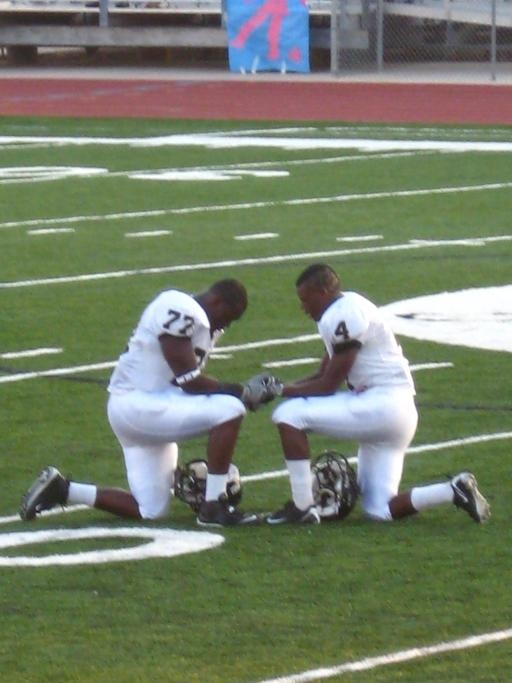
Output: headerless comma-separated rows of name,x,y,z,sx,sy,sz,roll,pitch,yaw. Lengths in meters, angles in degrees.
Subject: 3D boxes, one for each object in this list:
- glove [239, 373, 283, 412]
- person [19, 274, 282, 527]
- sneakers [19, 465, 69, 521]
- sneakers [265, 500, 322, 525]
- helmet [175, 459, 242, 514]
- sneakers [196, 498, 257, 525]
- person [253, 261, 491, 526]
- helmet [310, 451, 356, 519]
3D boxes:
glove,0.020,0.272,9.178,0.214,0.101,0.153,-29,65,-19
person,-0.571,0.316,9.299,1.163,1.373,0.648,-1,1,11
sneakers,-1.075,0.790,9.008,0.184,0.319,0.122,41,1,-45
sneakers,0.192,0.900,9.216,0.290,0.162,0.114,2,-3,5
helmet,-0.257,0.790,9.308,0.302,0.314,0.252,5,39,9
sneakers,-0.155,0.902,9.209,0.325,0.180,0.127,-1,3,7
person,0.571,0.272,9.114,1.033,1.344,0.363,0,10,7
helmet,0.423,0.744,9.303,0.221,0.358,0.312,-4,6,6
